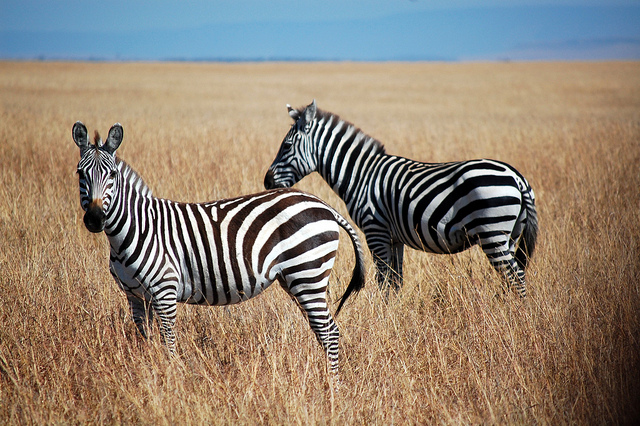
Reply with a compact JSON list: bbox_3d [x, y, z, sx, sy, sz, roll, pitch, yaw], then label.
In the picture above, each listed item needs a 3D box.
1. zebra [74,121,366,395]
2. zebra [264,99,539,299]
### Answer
[{"bbox_3d":[-0.709,0.468,13.992,6.637,5.857,2.141,4,-6,-14],"label":"zebra"},{"bbox_3d":[1.288,-0.036,13.168,4.511,3.624,1.487,1,3,13],"label":"zebra"}]
